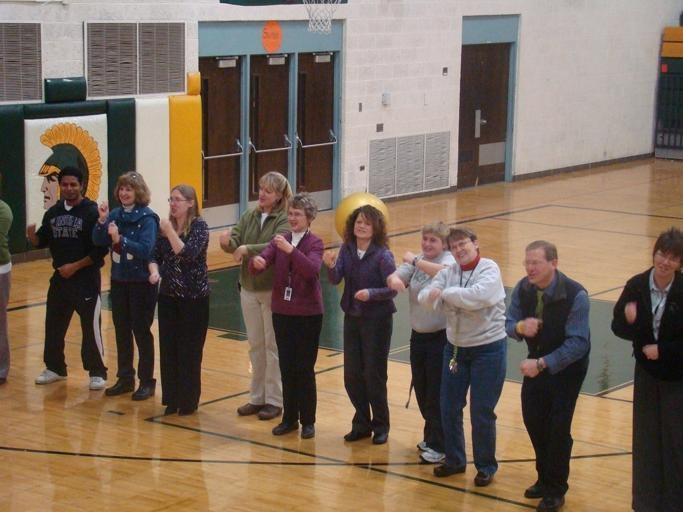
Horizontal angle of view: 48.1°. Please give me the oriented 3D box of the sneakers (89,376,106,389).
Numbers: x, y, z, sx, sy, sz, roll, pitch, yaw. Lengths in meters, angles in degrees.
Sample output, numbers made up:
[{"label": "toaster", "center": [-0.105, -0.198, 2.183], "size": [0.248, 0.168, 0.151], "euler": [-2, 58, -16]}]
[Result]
[{"label": "sneakers", "center": [-2.294, 1.203, 7.173], "size": [0.073, 0.081, 0.196], "euler": [1, -4, -4]}]

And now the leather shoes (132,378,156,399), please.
[{"label": "leather shoes", "center": [-1.818, 1.263, 7.126], "size": [0.103, 0.119, 0.270], "euler": [1, -2, 18]}]

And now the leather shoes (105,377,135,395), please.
[{"label": "leather shoes", "center": [-2.065, 1.233, 7.261], "size": [0.318, 0.232, 0.110], "euler": [5, 6, -18]}]

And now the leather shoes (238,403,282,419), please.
[{"label": "leather shoes", "center": [-0.709, 1.374, 6.735], "size": [0.173, 0.092, 0.244], "euler": [3, -9, 36]}]

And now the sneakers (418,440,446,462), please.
[{"label": "sneakers", "center": [0.680, 1.561, 5.994], "size": [0.242, 0.109, 0.091], "euler": [22, 27, 38]}]

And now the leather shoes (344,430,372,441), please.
[{"label": "leather shoes", "center": [0.129, 1.493, 6.356], "size": [0.244, 0.105, 0.085], "euler": [1, 9, -22]}]

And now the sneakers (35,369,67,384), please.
[{"label": "sneakers", "center": [-2.815, 1.171, 7.434], "size": [0.107, 0.121, 0.295], "euler": [1, -2, 42]}]

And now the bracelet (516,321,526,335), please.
[{"label": "bracelet", "center": [1.200, 0.490, 5.144], "size": [0.071, 0.066, 0.087], "euler": [-12, -12, -2]}]

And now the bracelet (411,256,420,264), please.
[{"label": "bracelet", "center": [0.555, 0.047, 5.750], "size": [0.015, 0.067, 0.046], "euler": [17, 18, -16]}]

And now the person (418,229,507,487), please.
[{"label": "person", "center": [0.876, 0.743, 5.510], "size": [0.588, 1.884, 0.409], "euler": [4, 14, 14]}]
